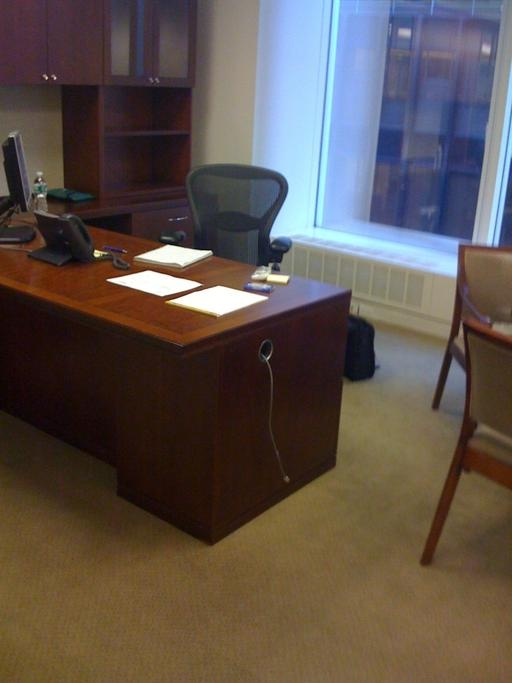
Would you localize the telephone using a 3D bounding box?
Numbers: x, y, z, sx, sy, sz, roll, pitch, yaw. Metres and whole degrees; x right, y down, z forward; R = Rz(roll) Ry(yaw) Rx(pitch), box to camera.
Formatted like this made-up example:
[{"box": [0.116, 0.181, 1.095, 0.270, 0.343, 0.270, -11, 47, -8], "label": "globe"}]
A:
[{"box": [-0.744, -0.398, 2.048, 0.218, 0.191, 0.137, 17, 21, 24], "label": "telephone"}]

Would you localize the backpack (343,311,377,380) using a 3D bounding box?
[{"box": [0.567, 0.054, 3.094, 0.154, 0.302, 0.300, 1, 3, 36], "label": "backpack"}]

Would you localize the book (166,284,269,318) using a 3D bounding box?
[{"box": [-0.112, -0.131, 1.727, 0.237, 0.047, 0.302, 10, 15, 29], "label": "book"}]
